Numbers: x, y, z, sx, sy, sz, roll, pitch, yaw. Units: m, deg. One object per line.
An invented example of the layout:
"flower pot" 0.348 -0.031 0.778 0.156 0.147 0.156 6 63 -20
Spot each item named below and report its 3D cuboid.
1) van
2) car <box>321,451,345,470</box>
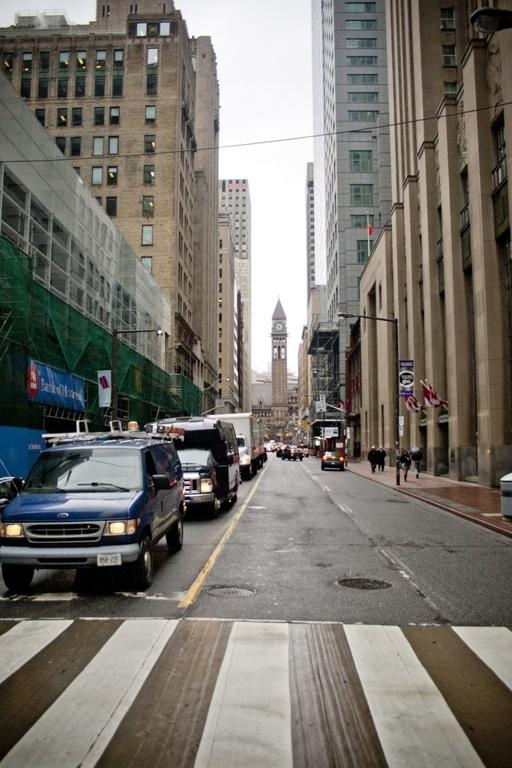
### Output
"van" -1.619 2.223 16.602 1.334 2.478 4.081 -2 -12 3
"car" 5.914 5.906 45.430 1.140 1.356 3.224 0 -2 5
